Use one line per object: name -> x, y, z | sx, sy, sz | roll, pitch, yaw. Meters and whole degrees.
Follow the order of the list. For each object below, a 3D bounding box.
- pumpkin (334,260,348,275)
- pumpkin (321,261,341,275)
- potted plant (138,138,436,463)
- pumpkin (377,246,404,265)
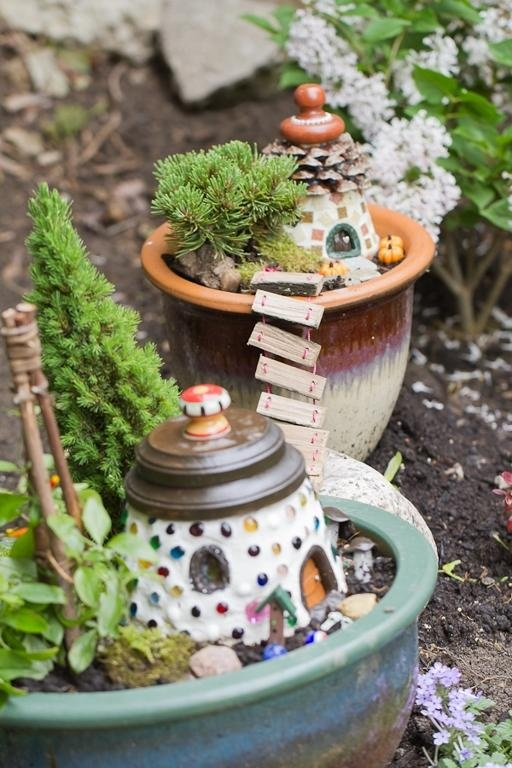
pumpkin -> 0.232, -0.318, 2.149 | 0.054, 0.044, 0.048 | 1, 13, 2
pumpkin -> 0.200, -0.310, 2.114 | 0.055, 0.044, 0.050 | -3, 11, 1
potted plant -> 0.091, -0.274, 2.284 | 0.812, 0.835, 0.754 | -8, 34, -6
pumpkin -> 0.394, -0.374, 2.276 | 0.065, 0.057, 0.060 | -21, 18, 1
